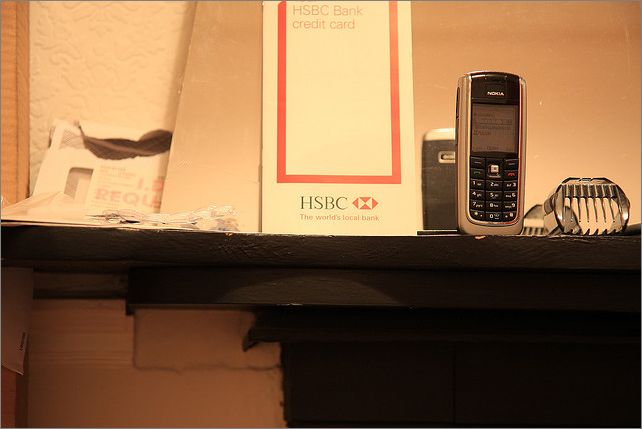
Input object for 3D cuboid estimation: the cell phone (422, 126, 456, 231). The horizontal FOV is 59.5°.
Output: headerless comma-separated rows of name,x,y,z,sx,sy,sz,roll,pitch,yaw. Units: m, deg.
cell phone,0.214,-0.062,1.024,0.062,0.195,0.048,0,-12,10
